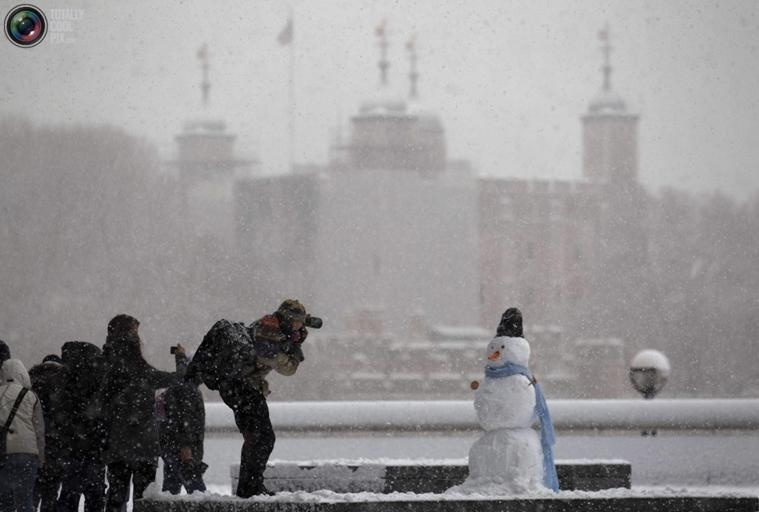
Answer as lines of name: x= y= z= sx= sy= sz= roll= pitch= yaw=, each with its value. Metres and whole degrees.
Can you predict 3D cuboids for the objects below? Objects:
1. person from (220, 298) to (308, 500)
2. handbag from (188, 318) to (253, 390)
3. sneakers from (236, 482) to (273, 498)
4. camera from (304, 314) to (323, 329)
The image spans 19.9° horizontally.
person: x=-1.507 y=1.883 z=28.494 sx=0.981 sy=2.613 sz=0.434 roll=0 pitch=-13 yaw=8
handbag: x=-2.101 y=1.333 z=28.522 sx=0.800 sy=0.894 sz=0.351 roll=34 pitch=-4 yaw=32
sneakers: x=-1.675 y=3.070 z=28.390 sx=0.574 sy=0.227 sz=0.178 roll=0 pitch=-2 yaw=-3
camera: x=-0.942 y=0.869 z=28.691 sx=0.302 sy=0.143 sz=0.097 roll=13 pitch=-15 yaw=12
